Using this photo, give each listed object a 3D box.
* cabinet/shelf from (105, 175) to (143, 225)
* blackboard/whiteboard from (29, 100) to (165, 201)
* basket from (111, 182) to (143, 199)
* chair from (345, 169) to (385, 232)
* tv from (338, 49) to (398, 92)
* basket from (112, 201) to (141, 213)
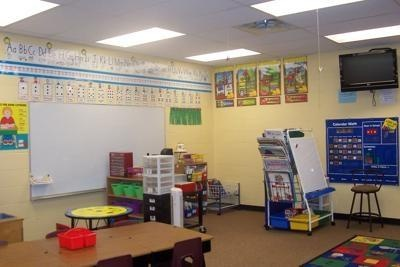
[{"bbox_3d":[-1.568,1.389,6.109,1.274,1.055,0.336,-3,-5,39],"label":"cabinet/shelf"},{"bbox_3d":[-2.359,0.419,6.360,2.539,1.369,0.050,-2,2,-42],"label":"blackboard/whiteboard"},{"bbox_3d":[-1.598,1.251,6.518,0.541,0.180,0.373,-2,-5,26],"label":"basket"},{"bbox_3d":[3.816,1.479,6.729,0.738,1.245,0.787,-2,0,33],"label":"chair"},{"bbox_3d":[3.810,-1.412,6.546,1.092,0.738,0.143,0,4,31],"label":"tv"},{"bbox_3d":[-1.695,1.589,6.610,0.729,0.224,0.491,1,-2,35],"label":"basket"}]
